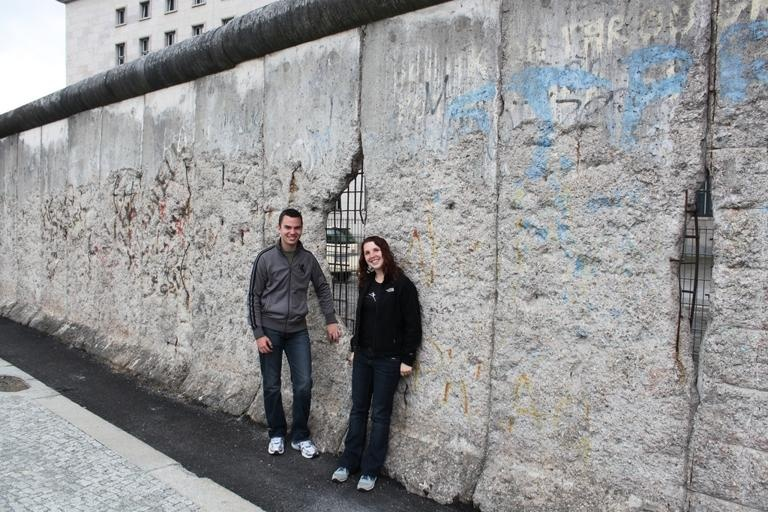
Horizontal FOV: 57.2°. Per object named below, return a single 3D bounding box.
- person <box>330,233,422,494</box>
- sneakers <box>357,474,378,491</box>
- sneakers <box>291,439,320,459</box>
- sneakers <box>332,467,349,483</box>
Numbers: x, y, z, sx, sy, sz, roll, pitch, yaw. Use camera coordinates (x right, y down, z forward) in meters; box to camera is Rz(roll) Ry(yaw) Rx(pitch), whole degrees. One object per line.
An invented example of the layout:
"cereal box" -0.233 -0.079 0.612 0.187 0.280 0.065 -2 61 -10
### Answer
"person" -0.051 0.995 6.627 0.726 2.347 0.376 0 -4 31
"sneakers" -0.140 2.092 6.533 0.227 0.140 0.099 7 -6 -41
"sneakers" -0.776 1.897 7.022 0.129 0.115 0.261 -2 6 -45
"sneakers" -0.402 2.042 6.599 0.155 0.132 0.067 3 -4 -7
